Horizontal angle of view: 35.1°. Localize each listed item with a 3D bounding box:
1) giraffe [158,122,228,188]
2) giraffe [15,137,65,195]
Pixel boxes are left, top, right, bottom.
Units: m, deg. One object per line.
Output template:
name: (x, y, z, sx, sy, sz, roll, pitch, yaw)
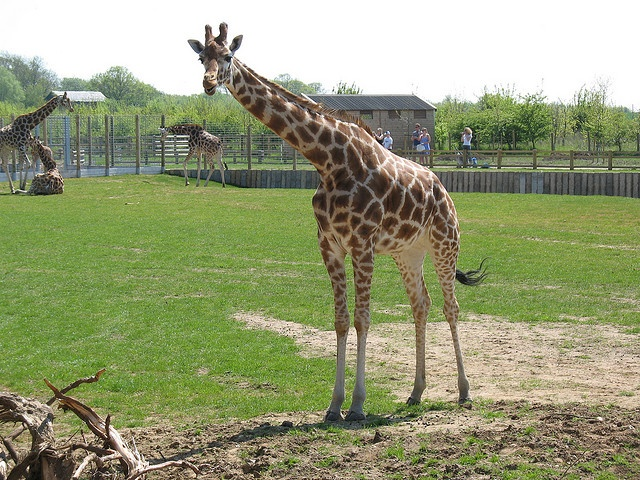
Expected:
giraffe: (-4.871, -3.293, 38.868, 2.952, 2.397, 0.756, 5, 7, 25)
giraffe: (-9.172, -2.367, 32.434, 0.818, 1.716, 2.763, -2, 20, -24)
